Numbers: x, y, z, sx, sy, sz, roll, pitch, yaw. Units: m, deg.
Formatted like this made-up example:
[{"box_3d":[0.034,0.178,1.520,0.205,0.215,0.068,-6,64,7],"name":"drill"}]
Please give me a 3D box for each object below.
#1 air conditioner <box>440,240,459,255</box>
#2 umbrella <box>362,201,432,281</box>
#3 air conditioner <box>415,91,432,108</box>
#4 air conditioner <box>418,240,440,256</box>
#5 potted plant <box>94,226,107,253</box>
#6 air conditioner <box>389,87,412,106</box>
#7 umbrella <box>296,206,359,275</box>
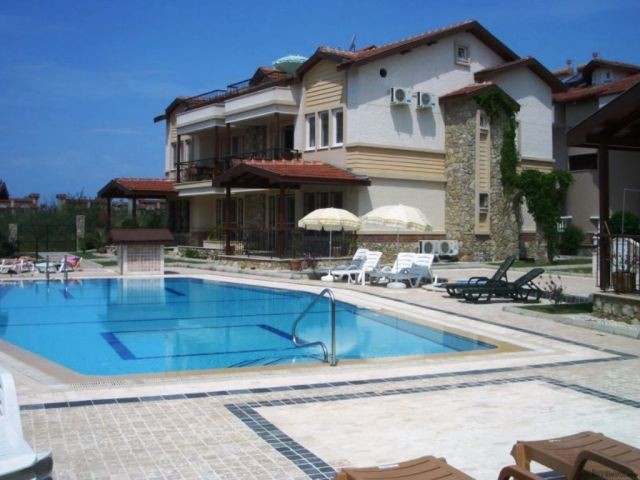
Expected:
[{"box_3d":[5.852,0.326,27.661,1.094,0.745,0.611,1,1,-22],"name":"air conditioner"},{"box_3d":[2.823,-0.005,22.166,2.620,2.471,2.585,3,1,27],"name":"umbrella"},{"box_3d":[4.674,-6.296,27.259,0.787,0.476,0.341,-1,-1,0],"name":"air conditioner"},{"box_3d":[4.885,0.271,27.574,1.146,0.764,0.641,0,0,-35],"name":"air conditioner"},{"box_3d":[-13.534,-0.053,37.611,0.729,1.545,3.231,-1,-1,-20],"name":"potted plant"},{"box_3d":[3.554,-6.288,26.737,1.126,0.749,0.445,-1,-1,-42],"name":"air conditioner"},{"box_3d":[0.516,-0.234,22.200,2.122,1.645,2.069,-1,3,-29],"name":"umbrella"}]
